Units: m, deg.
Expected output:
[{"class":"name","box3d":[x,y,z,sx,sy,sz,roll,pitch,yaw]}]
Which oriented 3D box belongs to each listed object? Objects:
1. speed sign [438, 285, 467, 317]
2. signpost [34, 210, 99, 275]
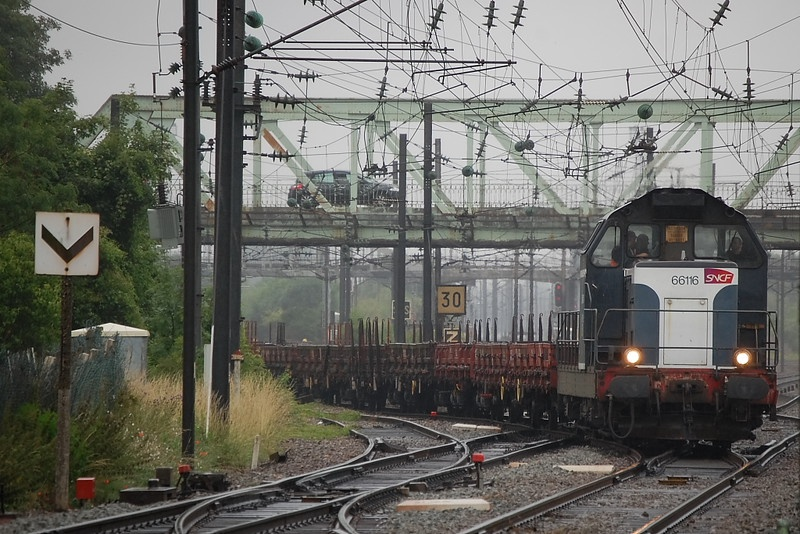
[{"class":"speed sign","box3d":[1.894,1.162,53.444,1.118,1.061,0.160,0,-8,-6]},{"class":"signpost","box3d":[-7.156,-0.524,31.046,1.304,1.324,0.143,0,-4,-10]}]
